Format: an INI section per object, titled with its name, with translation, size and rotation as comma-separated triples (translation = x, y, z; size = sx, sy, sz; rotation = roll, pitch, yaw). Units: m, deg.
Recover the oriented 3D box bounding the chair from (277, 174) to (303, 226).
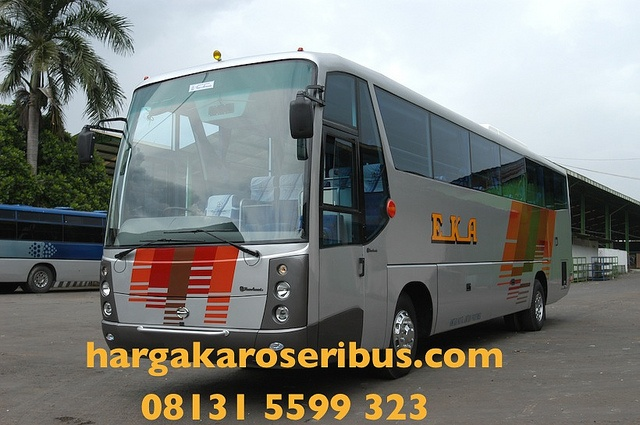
[chair]
translation = -0.367, -0.133, 5.932
size = 0.300, 0.672, 0.173
rotation = 2, 2, -2
